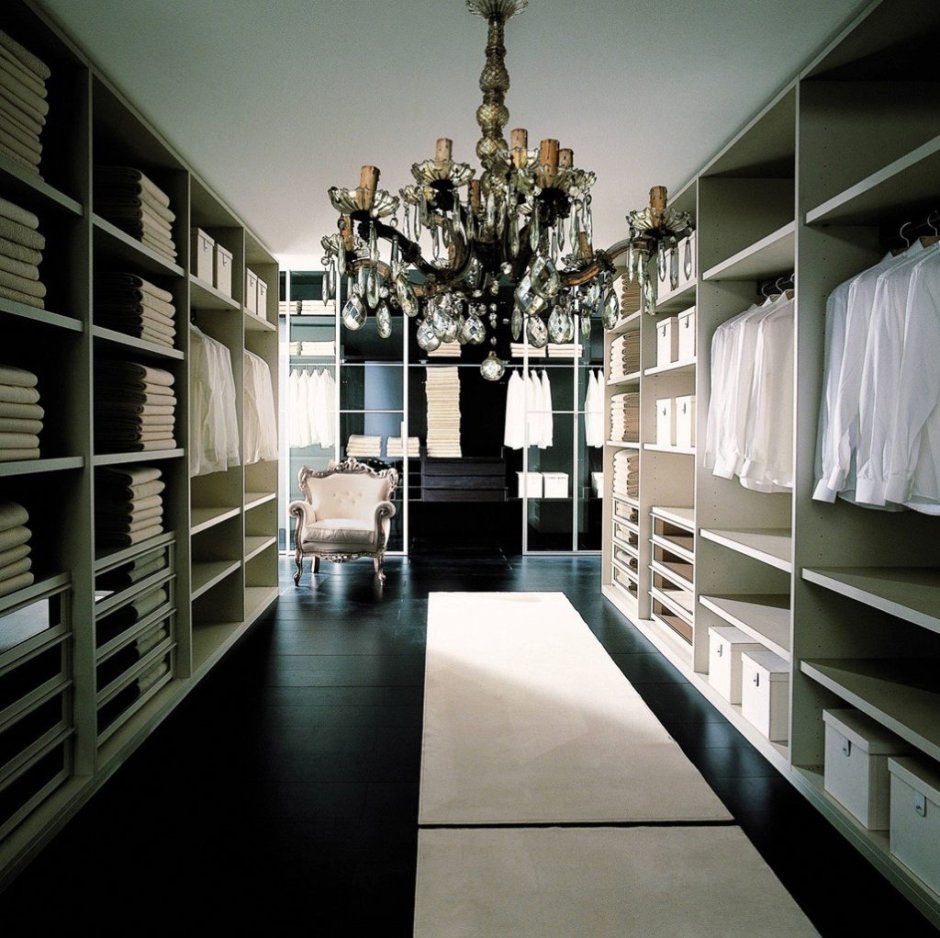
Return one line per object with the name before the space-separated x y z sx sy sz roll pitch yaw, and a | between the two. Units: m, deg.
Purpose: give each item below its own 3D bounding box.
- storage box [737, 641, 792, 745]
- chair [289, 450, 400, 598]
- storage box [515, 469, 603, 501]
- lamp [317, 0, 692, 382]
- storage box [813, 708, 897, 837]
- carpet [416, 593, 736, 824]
storage box | 1.102 0.837 2.999 0.158 0.291 0.343 1 -2 3
chair | -0.912 0.392 5.741 0.736 0.837 0.837 0 5 -6
storage box | 0.659 0.137 7.015 0.463 0.252 0.140 1 5 3
lamp | 0.135 -0.727 2.733 1.147 1.379 1.175 1 -2 5
storage box | 1.226 0.919 2.431 0.139 0.275 0.287 -2 -5 -13
carpet | 0.302 1.007 3.179 0.989 0.024 1.525 0 6 -3
